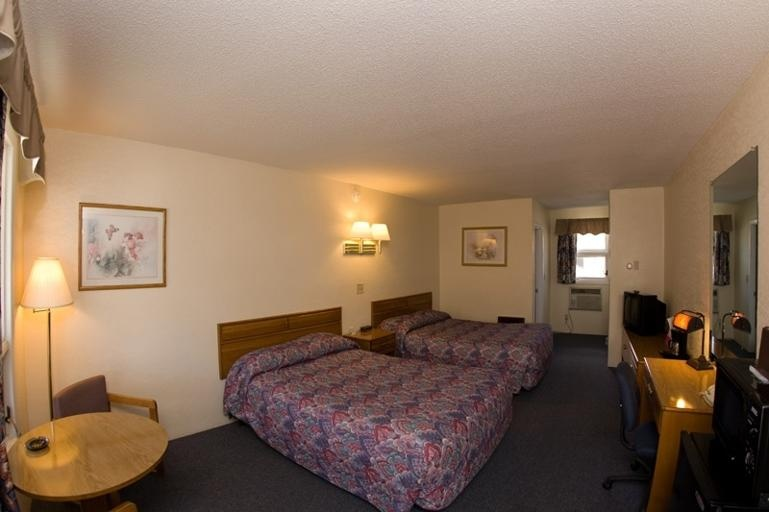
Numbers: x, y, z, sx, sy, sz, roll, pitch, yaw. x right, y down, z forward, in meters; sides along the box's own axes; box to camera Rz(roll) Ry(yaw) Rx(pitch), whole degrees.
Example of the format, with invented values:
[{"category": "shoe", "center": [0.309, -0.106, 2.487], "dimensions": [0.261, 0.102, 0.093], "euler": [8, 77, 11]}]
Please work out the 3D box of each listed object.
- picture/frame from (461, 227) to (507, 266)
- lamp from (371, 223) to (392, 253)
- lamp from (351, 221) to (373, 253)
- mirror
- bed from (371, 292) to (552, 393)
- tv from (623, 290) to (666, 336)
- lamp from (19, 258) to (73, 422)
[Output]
[{"category": "picture/frame", "center": [1.668, -0.173, 8.438], "dimensions": [0.784, 0.644, 0.024], "euler": [1, 2, 36]}, {"category": "lamp", "center": [-0.065, -0.259, 7.266], "dimensions": [0.390, 0.423, 0.370], "euler": [-2, 9, -2]}, {"category": "lamp", "center": [-0.323, -0.274, 6.970], "dimensions": [0.429, 0.396, 0.240], "euler": [-3, 7, -43]}, {"category": "mirror", "center": [2.992, -0.012, 4.340], "dimensions": [0.095, 2.056, 2.086], "euler": [0, 2, 27]}, {"category": "bed", "center": [1.080, 1.124, 6.849], "dimensions": [1.566, 0.654, 1.635], "euler": [1, 3, 35]}, {"category": "tv", "center": [3.593, 0.774, 6.971], "dimensions": [0.408, 0.514, 0.578], "euler": [1, 1, 1]}, {"category": "lamp", "center": [-2.989, 0.746, 4.497], "dimensions": [0.373, 1.492, 0.485], "euler": [-1, 1, -31]}]
